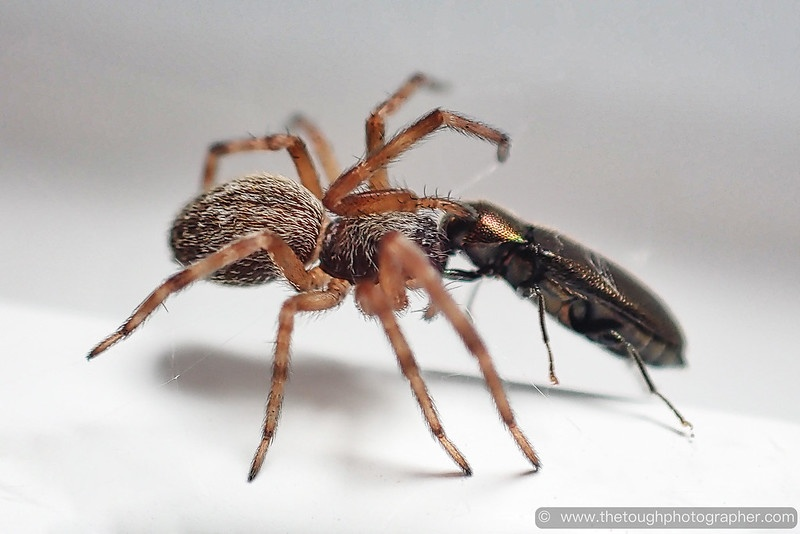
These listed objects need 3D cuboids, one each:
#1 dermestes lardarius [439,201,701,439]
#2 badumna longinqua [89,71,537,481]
[{"bbox_3d":[0.463,0.062,2.137,0.442,0.492,0.659,-7,-79,14],"label":"dermestes lardarius"},{"bbox_3d":[-0.222,-0.080,2.204,1.066,0.911,0.890,11,-86,-23],"label":"badumna longinqua"}]
